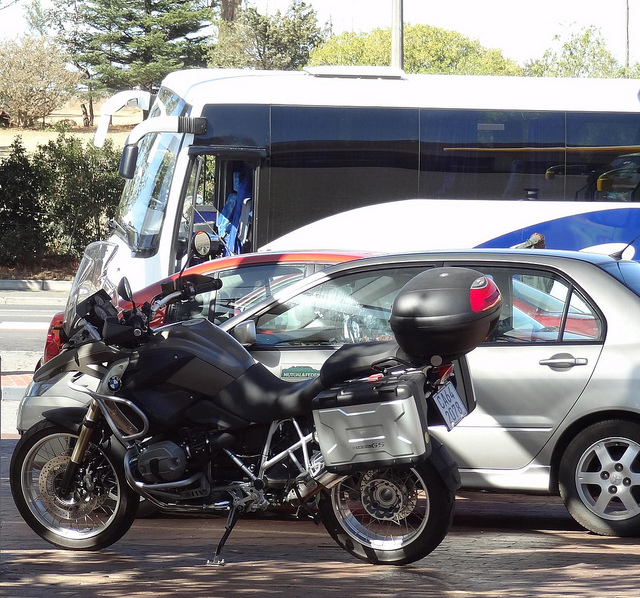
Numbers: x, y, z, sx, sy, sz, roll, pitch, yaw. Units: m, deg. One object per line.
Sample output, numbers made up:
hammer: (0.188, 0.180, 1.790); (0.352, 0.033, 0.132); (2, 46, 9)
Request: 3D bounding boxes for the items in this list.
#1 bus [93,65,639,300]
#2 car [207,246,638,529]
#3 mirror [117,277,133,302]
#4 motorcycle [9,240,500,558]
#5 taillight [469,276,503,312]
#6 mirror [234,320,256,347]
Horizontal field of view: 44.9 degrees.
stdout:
bus: (0.964, -2.011, 11.718); (9.961, 3.715, 3.242); (0, 2, -4)
car: (0.865, 0.401, 5.179); (2.897, 1.109, 1.544); (3, 3, 8)
mirror: (-1.023, -0.047, 4.096); (0.031, 0.116, 0.092); (-3, 4, -5)
motorcycle: (-0.495, 0.625, 4.269); (2.940, 1.522, 0.964); (-3, -3, 22)
taillight: (0.803, -0.027, 3.777); (0.074, 0.176, 0.238); (-3, -4, 32)
mirror: (-0.442, 0.201, 4.810); (0.151, 0.168, 0.251); (0, 4, 1)
